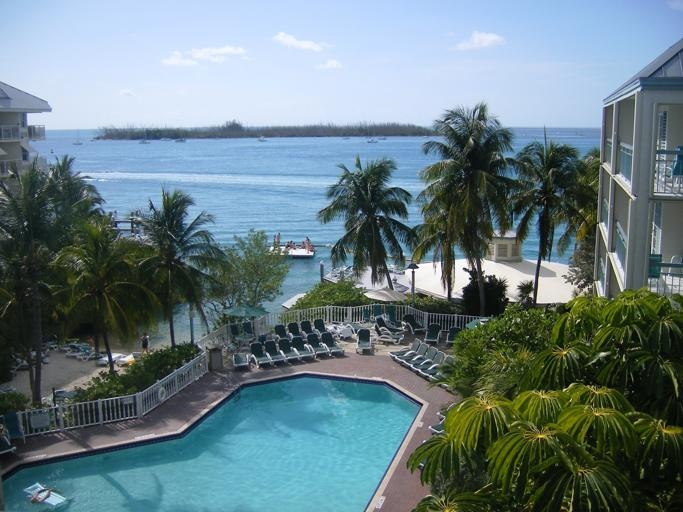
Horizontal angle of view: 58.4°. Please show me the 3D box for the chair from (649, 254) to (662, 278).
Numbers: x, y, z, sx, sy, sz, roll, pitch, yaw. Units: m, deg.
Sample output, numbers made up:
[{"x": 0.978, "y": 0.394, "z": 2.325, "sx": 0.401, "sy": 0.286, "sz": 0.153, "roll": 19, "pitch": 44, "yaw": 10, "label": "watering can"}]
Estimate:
[{"x": 7.863, "y": 0.302, "z": 15.311, "sx": 0.267, "sy": 0.599, "sz": 0.486, "roll": 2, "pitch": 7, "yaw": 29, "label": "chair"}]

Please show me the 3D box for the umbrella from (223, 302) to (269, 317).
[{"x": -4.142, "y": 2.525, "z": 26.847, "sx": 1.624, "sy": 0.692, "sz": 1.840, "roll": -2, "pitch": 6, "yaw": -4, "label": "umbrella"}]

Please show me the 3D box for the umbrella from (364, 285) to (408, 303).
[{"x": 2.172, "y": 1.954, "z": 28.692, "sx": 1.780, "sy": 0.811, "sz": 2.310, "roll": 0, "pitch": 6, "yaw": 9, "label": "umbrella"}]
